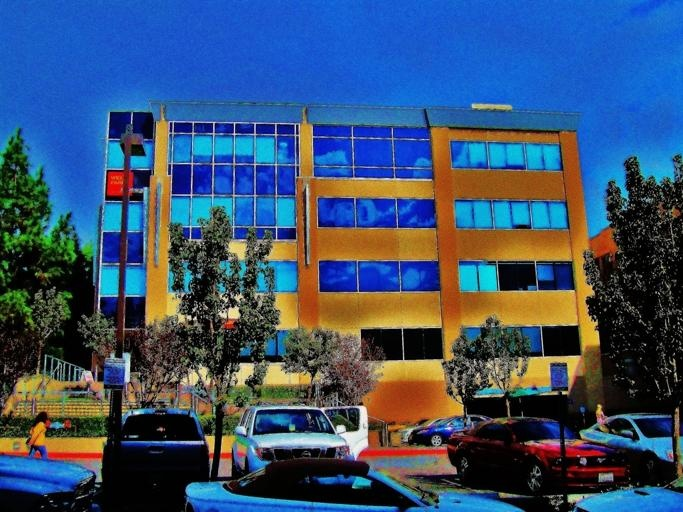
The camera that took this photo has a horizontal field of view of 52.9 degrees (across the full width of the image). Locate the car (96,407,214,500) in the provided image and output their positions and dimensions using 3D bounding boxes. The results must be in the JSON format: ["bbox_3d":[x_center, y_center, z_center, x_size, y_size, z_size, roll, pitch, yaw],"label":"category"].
[{"bbox_3d":[-4.656,4.693,17.577,1.990,2.024,4.003,3,-4,-16],"label":"car"}]
